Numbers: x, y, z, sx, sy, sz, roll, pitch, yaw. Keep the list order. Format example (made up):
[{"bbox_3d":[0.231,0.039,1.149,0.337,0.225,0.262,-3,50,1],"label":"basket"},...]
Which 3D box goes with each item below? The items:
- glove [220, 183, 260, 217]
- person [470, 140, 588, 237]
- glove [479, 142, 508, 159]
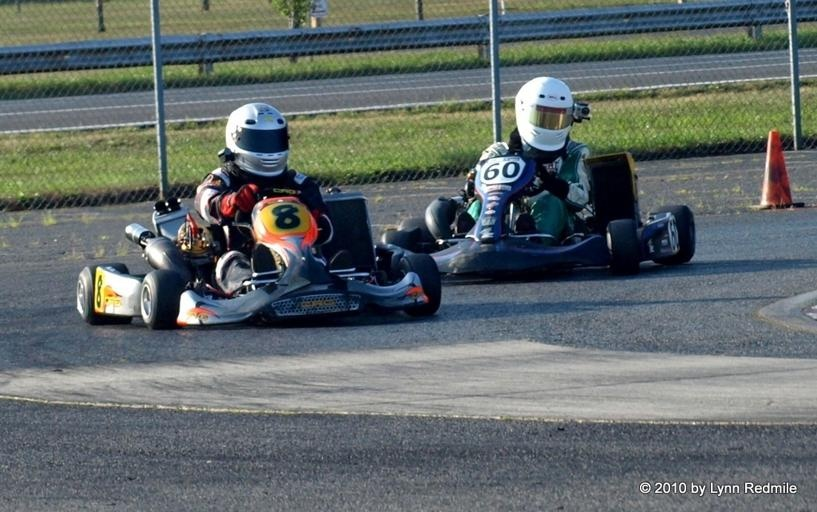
[{"bbox_3d":[-1.400,-0.445,13.659,0.308,0.120,0.227,-31,14,3],"label":"glove"},{"bbox_3d":[1.122,-0.571,14.851,0.869,0.827,2.431,1,2,12],"label":"person"},{"bbox_3d":[0.822,-0.972,15.299,0.165,0.082,0.229,-22,6,-6],"label":"glove"}]
